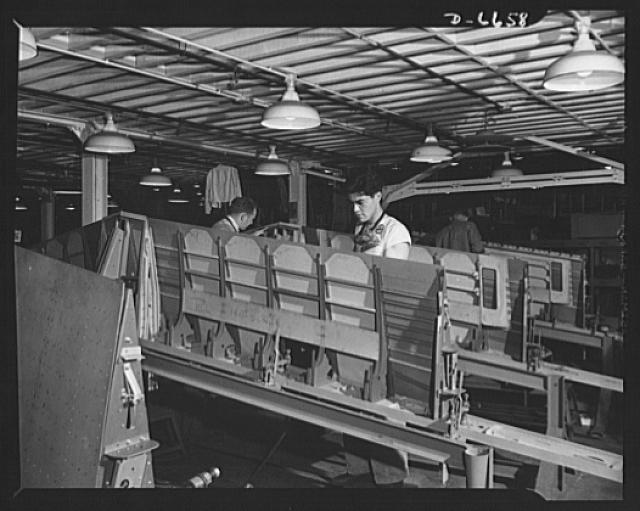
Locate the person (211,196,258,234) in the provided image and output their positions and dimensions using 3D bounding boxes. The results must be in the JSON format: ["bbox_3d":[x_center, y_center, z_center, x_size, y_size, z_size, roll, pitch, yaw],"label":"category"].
[{"bbox_3d":[-0.968,-0.456,14.030,0.398,0.433,0.875,2,7,11],"label":"person"}]

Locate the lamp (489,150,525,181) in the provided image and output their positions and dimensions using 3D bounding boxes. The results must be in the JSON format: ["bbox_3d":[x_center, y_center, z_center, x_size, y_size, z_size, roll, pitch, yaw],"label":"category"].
[{"bbox_3d":[2.388,-1.150,16.202,0.400,0.499,0.425,-2,8,-4],"label":"lamp"}]

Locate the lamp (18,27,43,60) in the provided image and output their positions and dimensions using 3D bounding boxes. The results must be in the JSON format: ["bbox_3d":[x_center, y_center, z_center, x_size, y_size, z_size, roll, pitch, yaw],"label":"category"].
[{"bbox_3d":[-2.820,-2.043,11.993,0.266,0.331,0.291,1,-4,0],"label":"lamp"}]

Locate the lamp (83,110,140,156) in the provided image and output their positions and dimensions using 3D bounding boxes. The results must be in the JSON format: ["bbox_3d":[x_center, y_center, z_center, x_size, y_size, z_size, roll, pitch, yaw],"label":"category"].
[{"bbox_3d":[-2.442,-1.455,14.310,0.586,0.510,0.581,8,-1,27],"label":"lamp"}]

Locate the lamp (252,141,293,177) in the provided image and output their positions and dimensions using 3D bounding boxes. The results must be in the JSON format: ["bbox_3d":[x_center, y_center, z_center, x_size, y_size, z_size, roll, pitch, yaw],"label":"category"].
[{"bbox_3d":[-0.611,-1.255,15.875,0.459,0.401,0.446,-2,-1,-26],"label":"lamp"}]

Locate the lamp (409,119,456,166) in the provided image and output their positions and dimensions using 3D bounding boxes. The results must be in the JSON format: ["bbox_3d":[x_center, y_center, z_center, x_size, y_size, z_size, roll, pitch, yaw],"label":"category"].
[{"bbox_3d":[1.238,-1.326,14.083,0.556,0.489,0.591,-1,-8,15],"label":"lamp"}]

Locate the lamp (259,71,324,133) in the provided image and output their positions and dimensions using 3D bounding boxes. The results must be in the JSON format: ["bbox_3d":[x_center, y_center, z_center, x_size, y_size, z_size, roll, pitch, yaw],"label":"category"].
[{"bbox_3d":[-0.323,-1.649,13.205,0.698,0.621,0.688,0,-1,9],"label":"lamp"}]

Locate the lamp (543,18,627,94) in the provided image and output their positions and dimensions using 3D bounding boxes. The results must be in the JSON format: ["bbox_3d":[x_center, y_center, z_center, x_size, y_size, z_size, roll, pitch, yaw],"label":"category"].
[{"bbox_3d":[2.601,-2.041,12.384,0.759,0.746,0.846,3,6,13],"label":"lamp"}]

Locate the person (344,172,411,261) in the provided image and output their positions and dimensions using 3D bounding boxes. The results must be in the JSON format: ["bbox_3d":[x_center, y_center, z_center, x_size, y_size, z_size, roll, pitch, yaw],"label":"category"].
[{"bbox_3d":[0.653,-0.448,13.878,0.515,1.062,0.973,-9,14,-27],"label":"person"}]

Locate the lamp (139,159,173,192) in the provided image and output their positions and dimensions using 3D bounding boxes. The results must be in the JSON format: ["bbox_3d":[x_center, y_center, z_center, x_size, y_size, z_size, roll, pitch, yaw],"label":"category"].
[{"bbox_3d":[-2.604,-1.301,19.766,0.639,0.688,0.745,0,0,-1],"label":"lamp"}]
